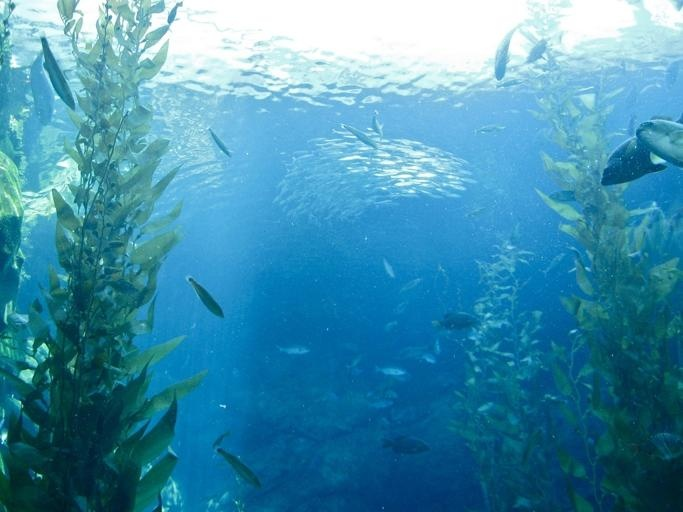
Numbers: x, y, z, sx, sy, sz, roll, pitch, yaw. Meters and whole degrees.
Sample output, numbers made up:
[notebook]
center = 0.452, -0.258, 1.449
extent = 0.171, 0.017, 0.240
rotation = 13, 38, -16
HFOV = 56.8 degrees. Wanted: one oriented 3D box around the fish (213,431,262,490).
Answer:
[fish]
center = -2.175, 4.183, 12.989
extent = 0.932, 1.167, 0.437
rotation = 0, 6, -14
